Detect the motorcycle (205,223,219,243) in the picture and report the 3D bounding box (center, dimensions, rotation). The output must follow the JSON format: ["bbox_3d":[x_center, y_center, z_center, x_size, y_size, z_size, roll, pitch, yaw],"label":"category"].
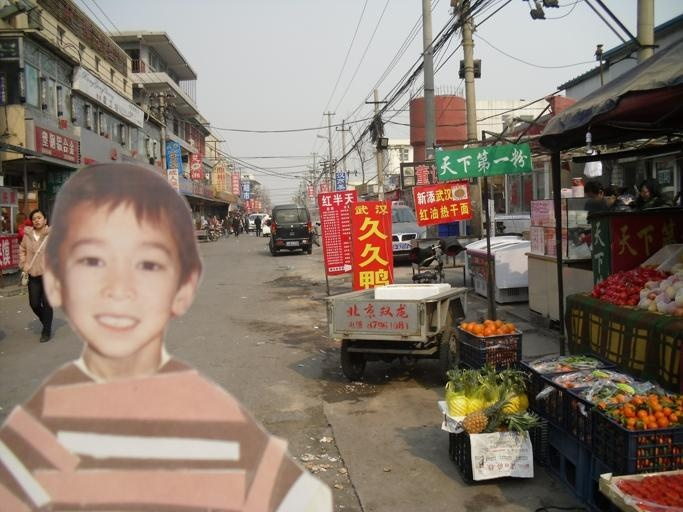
[{"bbox_3d":[-9.269,-1.702,41.867,0.803,0.970,1.497,0,6,-3],"label":"motorcycle"}]

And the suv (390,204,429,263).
[{"bbox_3d":[2.125,-0.844,19.653,1.035,1.129,2.230,-1,-4,0],"label":"suv"}]

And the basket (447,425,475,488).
[{"bbox_3d":[0.968,1.616,4.884,0.276,0.364,0.510,-1,0,-5],"label":"basket"}]

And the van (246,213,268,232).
[{"bbox_3d":[-8.671,-3.839,58.983,2.412,2.141,4.135,-1,-2,-1],"label":"van"}]

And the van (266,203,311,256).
[{"bbox_3d":[-2.426,-1.319,27.076,1.966,2.358,3.133,0,6,-8],"label":"van"}]

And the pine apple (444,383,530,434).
[{"bbox_3d":[1.200,1.252,4.842,0.492,0.275,0.385,-14,28,-3],"label":"pine apple"}]

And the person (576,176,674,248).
[{"bbox_3d":[4.090,-0.663,8.837,1.006,0.960,1.960,0,6,12],"label":"person"}]
